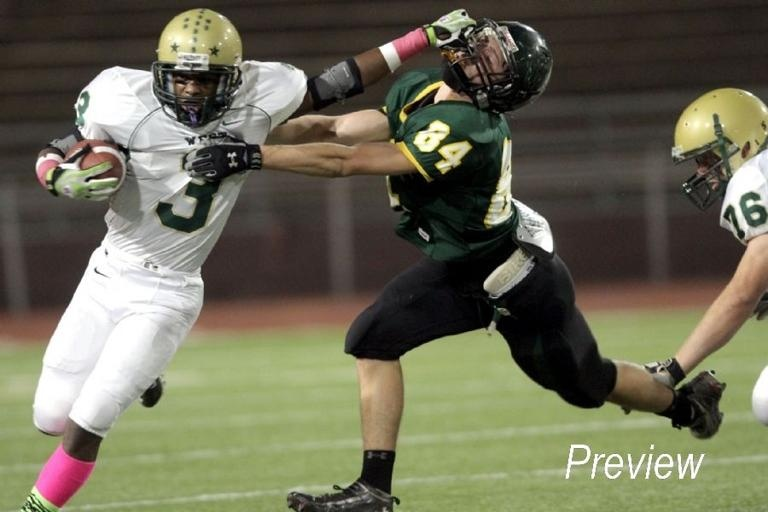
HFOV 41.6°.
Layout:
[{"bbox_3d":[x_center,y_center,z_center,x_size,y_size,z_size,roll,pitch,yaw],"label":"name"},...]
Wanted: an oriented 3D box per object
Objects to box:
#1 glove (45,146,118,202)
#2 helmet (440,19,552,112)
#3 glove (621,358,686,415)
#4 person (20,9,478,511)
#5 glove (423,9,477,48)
[{"bbox_3d":[-1.602,-0.478,5.595,0.264,0.289,0.349,39,25,12],"label":"glove"},{"bbox_3d":[0.603,-1.090,5.820,0.684,0.446,0.478,-3,4,-20],"label":"helmet"},{"bbox_3d":[1.642,0.795,6.256,0.415,0.274,0.171,-24,-42,11],"label":"glove"},{"bbox_3d":[-1.126,0.021,5.762,1.669,2.803,0.440,2,5,-15],"label":"person"},{"bbox_3d":[0.401,-1.307,5.700,0.328,0.230,0.112,-5,-49,46],"label":"glove"}]
